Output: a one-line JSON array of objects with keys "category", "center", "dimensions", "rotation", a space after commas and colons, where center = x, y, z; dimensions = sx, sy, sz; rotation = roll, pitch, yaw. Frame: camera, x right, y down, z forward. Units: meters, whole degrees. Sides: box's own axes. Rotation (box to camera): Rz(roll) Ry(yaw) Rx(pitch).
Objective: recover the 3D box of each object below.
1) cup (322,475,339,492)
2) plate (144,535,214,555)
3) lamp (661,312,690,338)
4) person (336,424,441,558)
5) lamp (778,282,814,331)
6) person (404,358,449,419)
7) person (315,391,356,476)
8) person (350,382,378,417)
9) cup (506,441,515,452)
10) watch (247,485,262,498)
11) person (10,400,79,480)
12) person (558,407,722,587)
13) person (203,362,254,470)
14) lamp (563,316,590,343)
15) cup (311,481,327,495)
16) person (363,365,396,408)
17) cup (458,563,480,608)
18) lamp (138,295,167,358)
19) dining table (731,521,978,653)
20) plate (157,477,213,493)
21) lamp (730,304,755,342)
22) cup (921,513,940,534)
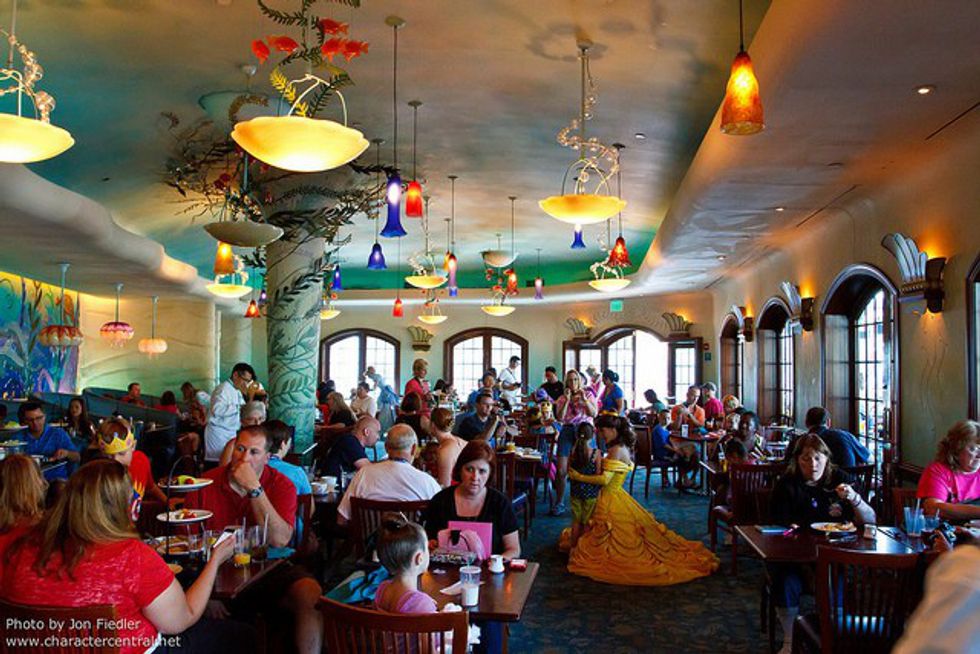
[{"category": "cup", "center": [-1.541, 1.509, 6.956], "dimensions": [0.104, 0.095, 0.123], "rotation": [2, -8, -4]}, {"category": "plate", "center": [-2.111, 1.465, 4.841], "dimensions": [0.270, 0.042, 0.264], "rotation": [3, -8, 1]}, {"category": "lamp", "center": [4.342, -0.038, 16.904], "dimensions": [0.619, 0.518, 0.201], "rotation": [-3, -1, 39]}, {"category": "person", "center": [-0.788, 1.295, 5.997], "dimensions": [0.947, 0.918, 0.506], "rotation": [5, 2, -11]}, {"category": "lamp", "center": [4.463, -0.323, 10.589], "dimensions": [0.270, 0.376, 0.798], "rotation": [3, -6, 9]}, {"category": "person", "center": [-1.325, 1.327, 14.081], "dimensions": [0.744, 1.239, 0.839], "rotation": [10, 0, 6]}, {"category": "person", "center": [-2.211, 1.378, 9.744], "dimensions": [0.590, 0.796, 1.988], "rotation": [-3, 13, -16]}, {"category": "person", "center": [-2.396, 1.386, 13.809], "dimensions": [0.418, 0.599, 0.702], "rotation": [12, -16, -36]}, {"category": "cup", "center": [0.250, 1.455, 8.752], "dimensions": [0.124, 0.132, 0.128], "rotation": [0, -9, 0]}, {"category": "watch", "center": [-1.615, 1.140, 4.973], "dimensions": [0.091, 0.056, 0.082], "rotation": [-12, -13, -38]}, {"category": "person", "center": [-5.052, 1.286, 8.038], "dimensions": [0.618, 0.871, 0.668], "rotation": [6, 16, 37]}, {"category": "person", "center": [1.413, 1.678, 7.218], "dimensions": [1.346, 1.613, 0.734], "rotation": [-2, -9, 6]}, {"category": "person", "center": [-3.034, 1.178, 8.458], "dimensions": [0.507, 1.574, 0.652], "rotation": [9, 15, -17]}, {"category": "lamp", "center": [2.327, 0.071, 19.376], "dimensions": [0.288, 0.498, 0.715], "rotation": [-1, -3, -29]}, {"category": "cup", "center": [-1.600, 1.513, 6.780], "dimensions": [0.102, 0.074, 0.109], "rotation": [2, 0, 0]}, {"category": "person", "center": [-2.500, 1.409, 16.171], "dimensions": [0.809, 1.152, 0.418], "rotation": [-4, 18, -4]}, {"category": "cup", "center": [-0.103, 1.547, 4.302], "dimensions": [0.175, 0.219, 0.175], "rotation": [-1, -12, 0]}, {"category": "lamp", "center": [-7.323, -0.032, 15.759], "dimensions": [0.602, 1.282, 1.477], "rotation": [4, -11, -24]}, {"category": "dining table", "center": [2.244, 1.619, 4.964], "dimensions": [0.902, 0.535, 0.887], "rotation": [0, -3, 7]}, {"category": "plate", "center": [-2.204, 1.157, 5.347], "dimensions": [0.433, 0.068, 0.422], "rotation": [2, -4, 4]}, {"category": "lamp", "center": [4.782, -0.092, 13.731], "dimensions": [0.202, 0.424, 0.752], "rotation": [1, -7, 7]}, {"category": "cup", "center": [3.249, 1.460, 5.360], "dimensions": [0.124, 0.131, 0.122], "rotation": [1, -10, 0]}]
